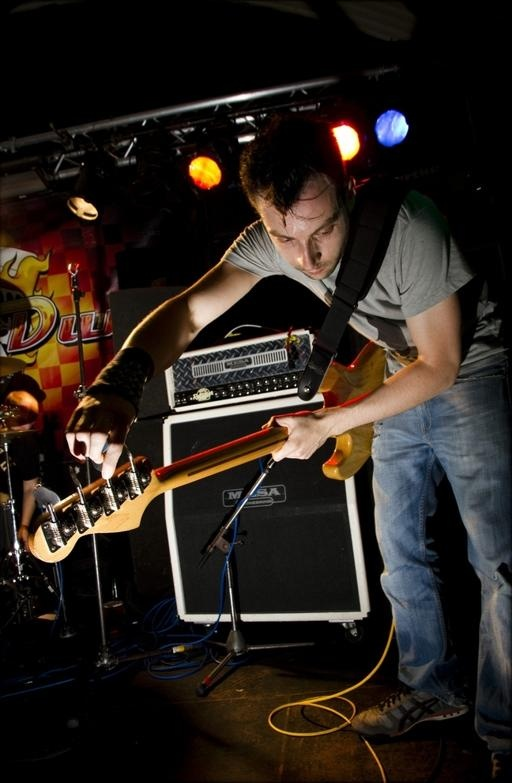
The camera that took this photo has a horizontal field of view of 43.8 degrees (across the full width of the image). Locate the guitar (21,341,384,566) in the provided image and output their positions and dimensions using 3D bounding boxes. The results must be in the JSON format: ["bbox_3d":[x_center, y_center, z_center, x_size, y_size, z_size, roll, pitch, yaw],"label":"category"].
[{"bbox_3d":[0.136,0.103,2.101,0.253,1.880,0.513,21,112,34],"label":"guitar"}]

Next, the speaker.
[{"bbox_3d":[0.055,0.498,2.610,0.958,0.615,1.002,-9,75,11],"label":"speaker"}]
